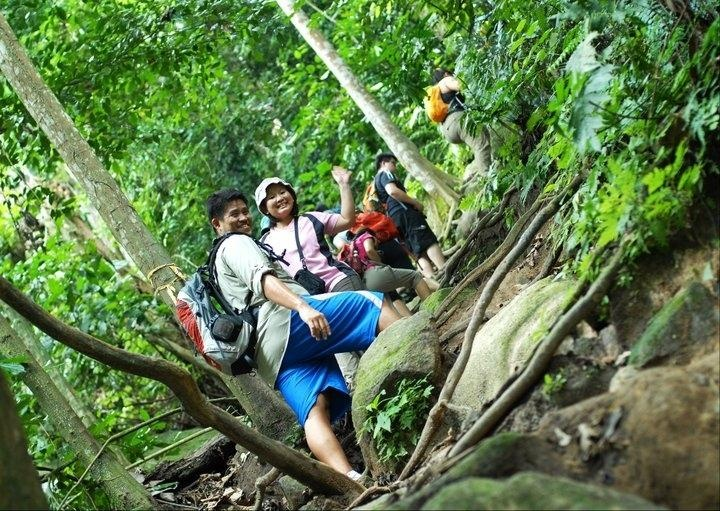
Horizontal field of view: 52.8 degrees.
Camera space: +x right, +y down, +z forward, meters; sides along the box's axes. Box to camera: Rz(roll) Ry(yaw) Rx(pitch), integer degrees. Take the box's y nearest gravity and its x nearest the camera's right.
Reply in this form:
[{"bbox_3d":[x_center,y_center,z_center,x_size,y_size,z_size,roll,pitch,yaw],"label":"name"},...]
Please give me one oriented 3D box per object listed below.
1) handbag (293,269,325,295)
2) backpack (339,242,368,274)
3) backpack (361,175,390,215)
[{"bbox_3d":[-0.428,0.222,6.240,0.185,0.234,0.086,-49,-3,-35],"label":"handbag"},{"bbox_3d":[-0.053,0.030,7.299,0.130,0.229,0.186,-32,34,56],"label":"backpack"},{"bbox_3d":[0.198,-0.760,9.181,0.166,0.455,0.311,0,-1,-34],"label":"backpack"}]
